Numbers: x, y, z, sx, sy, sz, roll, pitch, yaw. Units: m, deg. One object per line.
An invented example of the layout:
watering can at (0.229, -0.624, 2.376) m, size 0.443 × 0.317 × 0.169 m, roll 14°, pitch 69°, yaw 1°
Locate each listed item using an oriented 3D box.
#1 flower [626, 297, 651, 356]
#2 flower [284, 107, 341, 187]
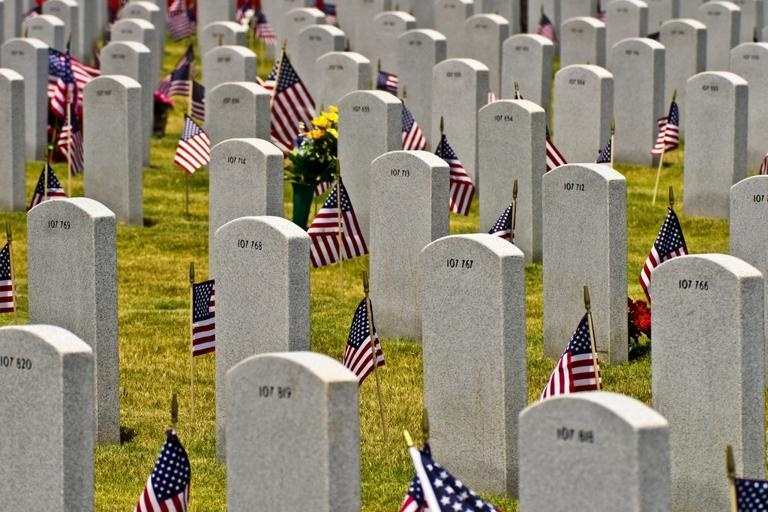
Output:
flower at (3.307, 0.955, 34.049) m, size 0.301 × 0.757 × 0.543 m, roll 3°, pitch 6°, yaw 7°
flower at (-0.973, -1.542, 37.449) m, size 0.603 × 0.923 × 0.781 m, roll 24°, pitch 14°, yaw -12°
